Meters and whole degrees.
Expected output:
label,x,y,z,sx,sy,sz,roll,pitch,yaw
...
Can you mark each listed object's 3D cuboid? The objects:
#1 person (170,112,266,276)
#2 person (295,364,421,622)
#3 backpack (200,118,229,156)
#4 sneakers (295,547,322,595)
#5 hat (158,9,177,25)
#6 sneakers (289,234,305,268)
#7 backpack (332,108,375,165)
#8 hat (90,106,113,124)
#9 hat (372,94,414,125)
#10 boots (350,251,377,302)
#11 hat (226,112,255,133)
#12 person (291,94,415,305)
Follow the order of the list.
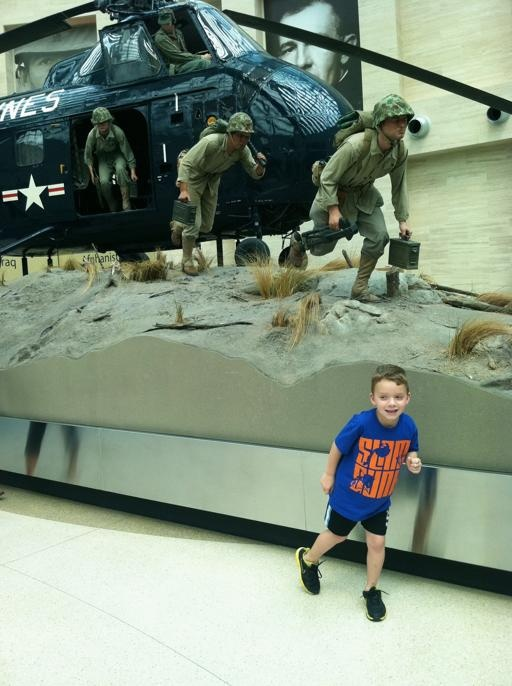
label,x,y,z,sx,sy,sz,roll,pitch,yaw
person,-0.219,-0.863,3.218,0.554,0.940,0.883,-4,2,-8
person,0.317,0.440,1.693,0.232,0.759,0.452,-5,3,-45
backpack,-0.228,-1.189,3.124,0.196,0.078,0.153,-6,8,-5
sneakers,0.183,0.756,1.850,0.074,0.153,0.059,-21,-13,24
hat,-0.629,-2.276,3.823,0.093,0.061,0.119,2,33,1
sneakers,0.173,-0.383,2.294,0.049,0.138,0.056,0,-7,3
backpack,0.417,-0.829,2.254,0.160,0.205,0.197,-11,14,-33
hat,-1.142,-1.672,4.041,0.121,0.079,0.153,-18,22,2
hat,0.482,-0.801,1.910,0.129,0.083,0.085,-6,6,17
boots,0.435,-0.258,2.166,0.109,0.206,0.223,-3,2,12
hat,-0.066,-1.128,2.840,0.145,0.077,0.115,12,20,34
person,0.422,-0.548,2.179,0.342,0.780,0.656,-3,2,6
